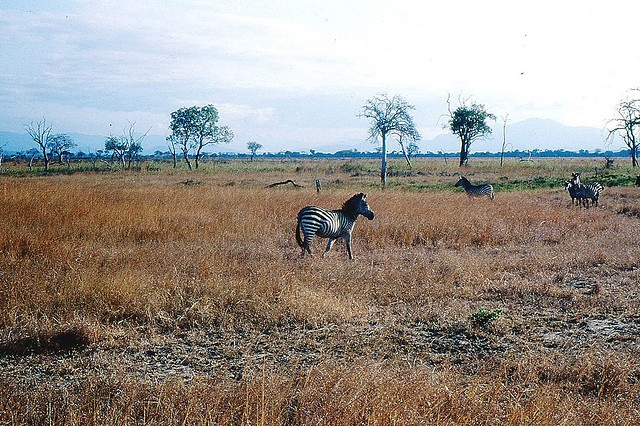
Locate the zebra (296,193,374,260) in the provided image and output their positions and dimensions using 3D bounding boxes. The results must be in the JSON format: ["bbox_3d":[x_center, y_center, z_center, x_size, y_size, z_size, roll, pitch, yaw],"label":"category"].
[{"bbox_3d":[0.549,0.564,27.032,2.291,1.948,0.741,-1,-1,-23],"label":"zebra"}]

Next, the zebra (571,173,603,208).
[{"bbox_3d":[12.326,-1.000,35.116,1.339,1.366,2.451,3,9,18],"label":"zebra"}]
